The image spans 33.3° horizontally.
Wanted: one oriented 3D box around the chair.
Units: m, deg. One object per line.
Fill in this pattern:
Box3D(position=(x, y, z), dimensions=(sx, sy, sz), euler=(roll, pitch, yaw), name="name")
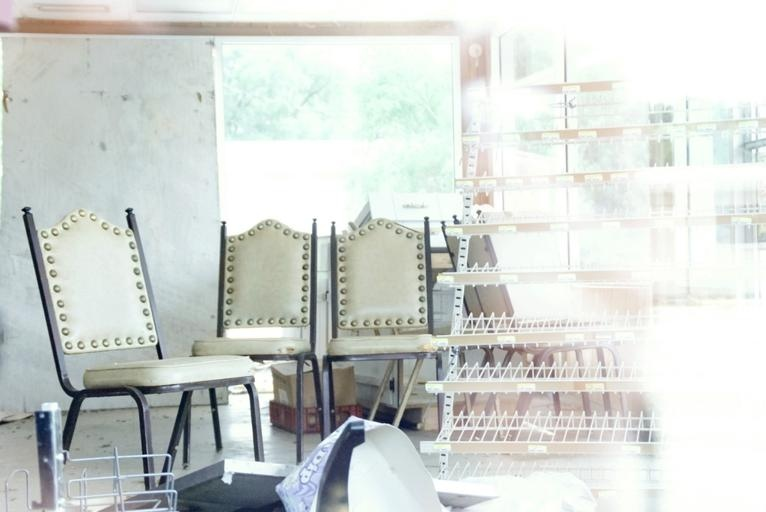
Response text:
Box3D(position=(-1.129, 0.505, 7.265), dimensions=(0.951, 1.534, 1.487), euler=(-1, -1, 38), name="chair")
